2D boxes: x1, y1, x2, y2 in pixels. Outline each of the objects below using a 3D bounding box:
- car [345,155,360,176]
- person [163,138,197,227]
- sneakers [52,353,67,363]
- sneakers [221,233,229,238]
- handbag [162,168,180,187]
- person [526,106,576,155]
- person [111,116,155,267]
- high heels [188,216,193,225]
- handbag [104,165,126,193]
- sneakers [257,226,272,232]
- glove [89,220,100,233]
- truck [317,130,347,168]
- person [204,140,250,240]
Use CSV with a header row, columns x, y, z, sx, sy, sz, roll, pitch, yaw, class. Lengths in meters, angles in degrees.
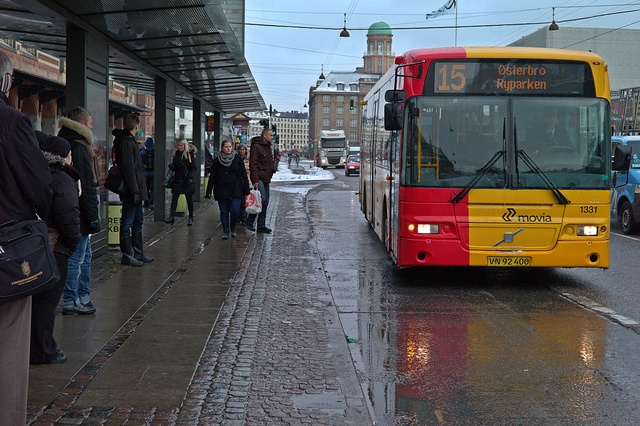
x,y,z,sx,sy,sz,roll,pitch,yaw,class
2.405,-3.540,49.576,0.978,1.440,1.909,1,8,-1,car
-3.410,-0.743,16.234,0.752,2.108,0.617,2,7,9,person
-2.747,1.521,6.927,0.161,0.074,0.061,-4,7,-14,sneakers
-2.100,0.496,14.432,0.164,0.134,0.396,0,9,-7,sneakers
-3.684,-0.850,16.253,0.246,0.539,0.141,24,-8,21,handbag
3.502,-1.306,10.192,0.734,0.779,0.181,2,-2,2,person
-3.092,-0.324,10.775,0.556,2.527,0.990,-1,7,-15,person
-3.238,0.234,16.366,0.077,0.165,0.163,2,-8,-4,high heels
-3.272,-0.522,10.393,0.348,0.444,0.251,8,10,44,handbag
-1.333,0.379,15.576,0.328,0.153,0.126,0,4,0,sneakers
-2.723,0.159,7.900,0.115,0.179,0.097,2,19,-3,glove
1.229,-6.218,65.370,2.769,3.693,3.039,1,8,2,truck
-2.049,-0.517,14.556,0.788,2.136,0.759,6,9,35,person
